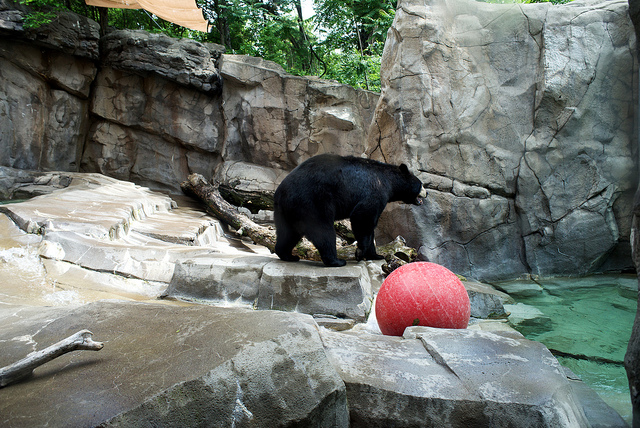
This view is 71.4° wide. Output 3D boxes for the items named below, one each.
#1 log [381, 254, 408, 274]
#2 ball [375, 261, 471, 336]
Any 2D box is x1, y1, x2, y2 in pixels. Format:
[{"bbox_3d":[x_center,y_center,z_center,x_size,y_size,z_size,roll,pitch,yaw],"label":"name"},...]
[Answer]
[{"bbox_3d":[1.042,0.703,6.391,0.268,0.074,0.280,17,47,36],"label":"log"},{"bbox_3d":[1.094,0.898,4.722,0.977,0.757,0.285,0,-4,7],"label":"ball"}]
